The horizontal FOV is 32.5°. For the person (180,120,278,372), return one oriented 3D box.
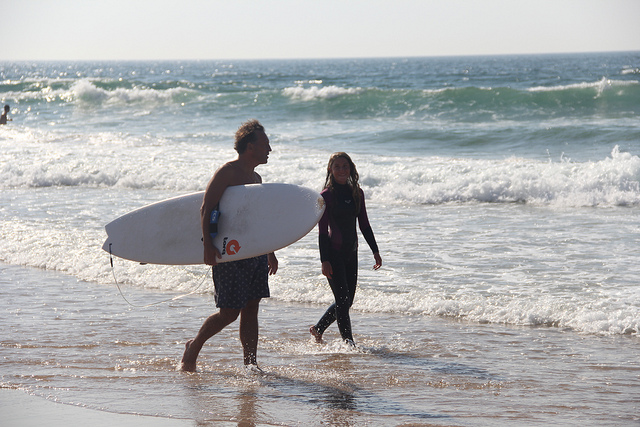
[{"bbox_3d":[-1.333,0.505,16.073,1.398,3.694,0.712,-3,13,-17],"label":"person"}]

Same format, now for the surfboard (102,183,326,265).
[{"bbox_3d":[-1.521,0.166,16.093,3.150,1.192,0.663,0,12,-2],"label":"surfboard"}]

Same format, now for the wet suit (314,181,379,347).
[{"bbox_3d":[0.367,0.775,16.810,0.793,2.501,0.561,-8,16,-36],"label":"wet suit"}]
